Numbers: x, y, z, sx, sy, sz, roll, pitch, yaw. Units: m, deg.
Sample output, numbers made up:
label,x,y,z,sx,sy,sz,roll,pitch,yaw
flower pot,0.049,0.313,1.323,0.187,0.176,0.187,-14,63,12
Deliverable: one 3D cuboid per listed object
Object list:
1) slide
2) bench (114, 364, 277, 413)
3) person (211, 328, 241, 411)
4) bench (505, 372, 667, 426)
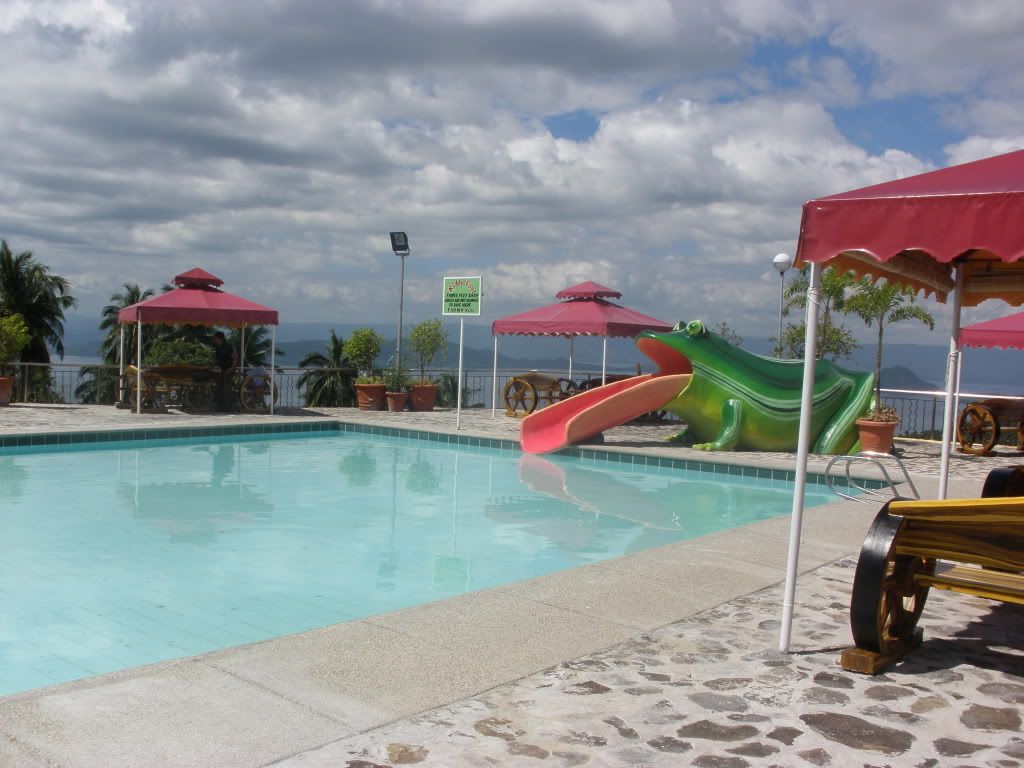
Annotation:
label,x,y,z,sx,sy,sz,roll,pitch,yaw
slide,1.968,0.382,13.103,4.216,0.943,0.874,-10,11,-38
bench,-6.722,0.126,16.202,2.533,0.988,1.061,-2,3,-38
person,-6.344,-0.230,16.428,0.631,1.696,0.620,8,0,19
bench,1.386,0.402,17.608,3.001,0.964,1.623,-1,1,-6
